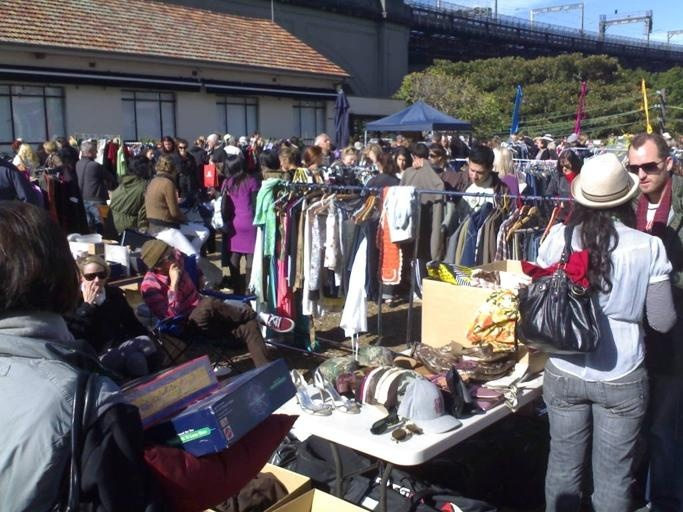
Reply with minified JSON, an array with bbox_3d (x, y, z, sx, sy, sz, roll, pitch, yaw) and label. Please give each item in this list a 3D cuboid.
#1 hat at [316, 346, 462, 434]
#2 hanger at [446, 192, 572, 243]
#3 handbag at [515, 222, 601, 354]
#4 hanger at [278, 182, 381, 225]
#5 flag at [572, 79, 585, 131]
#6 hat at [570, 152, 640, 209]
[{"bbox_3d":[0.325,0.697,3.573,0.394,0.164,0.267,16,11,38],"label":"hat"},{"bbox_3d":[1.380,-0.395,5.454,0.854,0.435,0.606,14,18,39],"label":"hanger"},{"bbox_3d":[1.055,0.156,3.388,0.418,0.706,0.235,-1,-1,43],"label":"handbag"},{"bbox_3d":[-0.062,-0.504,5.737,0.576,0.200,0.442,9,18,17],"label":"hanger"},{"bbox_3d":[7.587,-4.750,21.736,0.173,1.482,0.233,-5,10,-30],"label":"flag"},{"bbox_3d":[1.332,-0.378,3.445,0.326,0.251,0.288,-1,11,14],"label":"hat"}]
